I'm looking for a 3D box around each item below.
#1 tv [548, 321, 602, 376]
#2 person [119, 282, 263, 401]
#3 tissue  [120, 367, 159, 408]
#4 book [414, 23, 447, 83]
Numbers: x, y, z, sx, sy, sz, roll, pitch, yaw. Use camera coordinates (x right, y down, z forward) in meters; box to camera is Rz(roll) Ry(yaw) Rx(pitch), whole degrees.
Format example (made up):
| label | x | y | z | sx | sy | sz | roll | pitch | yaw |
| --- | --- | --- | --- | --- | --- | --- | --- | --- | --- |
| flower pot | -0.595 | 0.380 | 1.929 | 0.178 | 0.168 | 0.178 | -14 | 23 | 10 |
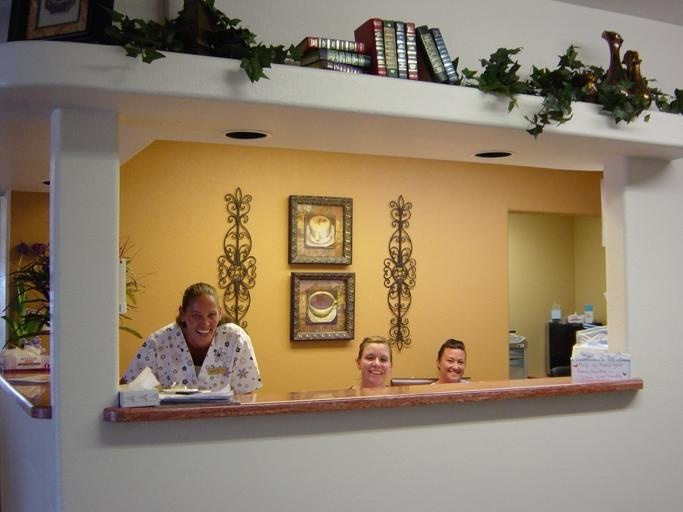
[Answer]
| label | x | y | z | sx | sy | sz | roll | pitch | yaw |
| --- | --- | --- | --- | --- | --- | --- | --- | --- | --- |
| tv | 2.388 | 0.976 | 6.655 | 0.485 | 0.583 | 0.265 | 7 | -7 | -30 |
| person | -1.032 | 0.547 | 4.088 | 0.917 | 0.953 | 0.273 | 0 | 1 | -23 |
| tissue  | -0.973 | 0.623 | 3.025 | 0.186 | 0.129 | 0.134 | 7 | -12 | -42 |
| book | 0.471 | -1.064 | 3.334 | 0.058 | 0.255 | 0.258 | -22 | -44 | 2 |
